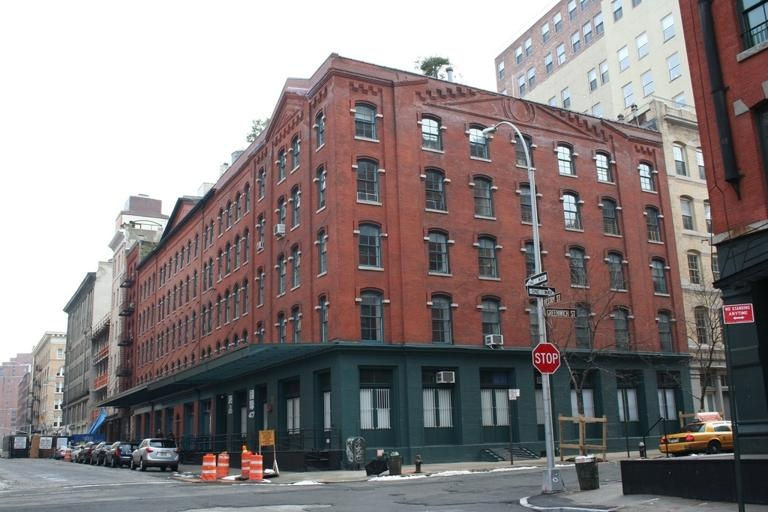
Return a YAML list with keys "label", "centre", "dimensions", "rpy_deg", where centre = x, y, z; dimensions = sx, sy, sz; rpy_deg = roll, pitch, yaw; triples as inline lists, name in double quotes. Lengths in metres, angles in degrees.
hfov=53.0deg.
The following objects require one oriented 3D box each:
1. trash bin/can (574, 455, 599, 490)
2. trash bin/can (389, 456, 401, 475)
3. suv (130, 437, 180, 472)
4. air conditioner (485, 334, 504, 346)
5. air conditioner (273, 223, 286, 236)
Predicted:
- label: "trash bin/can"
  centre: [7.342, 8.139, 28.524]
  dimensions: [1.056, 1.221, 1.082]
  rpy_deg: [-3, -15, 7]
- label: "trash bin/can"
  centre: [0.525, 9.974, 36.810]
  dimensions: [0.581, 1.055, 0.428]
  rpy_deg: [-1, -22, -4]
- label: "suv"
  centre: [-14.216, 12.613, 48.368]
  dimensions: [2.027, 2.184, 3.549]
  rpy_deg: [9, -24, -27]
- label: "air conditioner"
  centre: [6.577, 4.947, 45.850]
  dimensions: [1.207, 0.736, 0.617]
  rpy_deg: [2, -5, -12]
- label: "air conditioner"
  centre: [-6.808, -1.699, 50.574]
  dimensions: [0.434, 1.064, 1.395]
  rpy_deg: [6, -23, -21]
